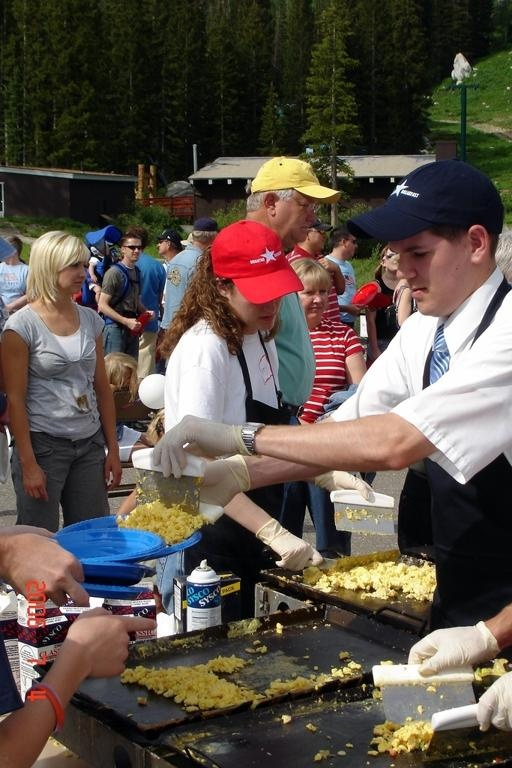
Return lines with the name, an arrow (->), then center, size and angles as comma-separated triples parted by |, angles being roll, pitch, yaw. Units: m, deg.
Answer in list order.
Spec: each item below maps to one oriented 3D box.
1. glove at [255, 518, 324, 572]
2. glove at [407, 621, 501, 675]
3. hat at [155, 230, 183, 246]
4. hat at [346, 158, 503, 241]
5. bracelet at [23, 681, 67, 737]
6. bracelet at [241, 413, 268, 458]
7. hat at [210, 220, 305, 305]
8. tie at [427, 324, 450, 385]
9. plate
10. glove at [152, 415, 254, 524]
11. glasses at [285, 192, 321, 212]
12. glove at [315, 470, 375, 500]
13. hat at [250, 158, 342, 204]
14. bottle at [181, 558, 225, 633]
glove -> 0.109, 0.524, 2.841 | 0.242, 0.123, 0.061 | 28, 31, -14
glove -> 0.452, 0.597, 1.954 | 0.208, 0.098, 0.103 | -18, 27, -15
hat -> -1.141, -1.976, 11.676 | 0.353, 0.176, 0.243 | 15, 5, -11
hat -> 0.418, -0.452, 2.196 | 0.348, 0.161, 0.209 | 7, 17, 1
bracelet -> -0.398, 0.605, 1.627 | 0.086, 0.082, 0.035 | 48, 4, 7
bracelet -> -0.029, 0.144, 2.400 | 0.055, 0.085, 0.097 | 5, 14, 33
hat -> 0.012, -0.453, 3.004 | 0.286, 0.195, 0.389 | -22, 42, -20
tie -> 0.485, -0.079, 2.345 | 0.077, 0.190, 0.028 | 17, 44, 29
plate -> -0.314, 0.446, 2.251 | 0.506, 0.105, 0.566 | 7, -4, -19
glove -> -0.154, 0.253, 2.451 | 0.249, 0.103, 0.311 | 20, -22, -16
glasses -> 0.210, -0.829, 3.918 | 0.119, 0.045, 0.084 | 24, 13, 13
glove -> 0.296, 0.340, 2.967 | 0.139, 0.040, 0.102 | 6, -15, 39
hat -> 0.163, -0.920, 3.949 | 0.361, 0.148, 0.218 | 1, 12, 3
bottle -> -0.155, 0.630, 2.560 | 0.124, 0.216, 0.113 | 1, 13, 0
